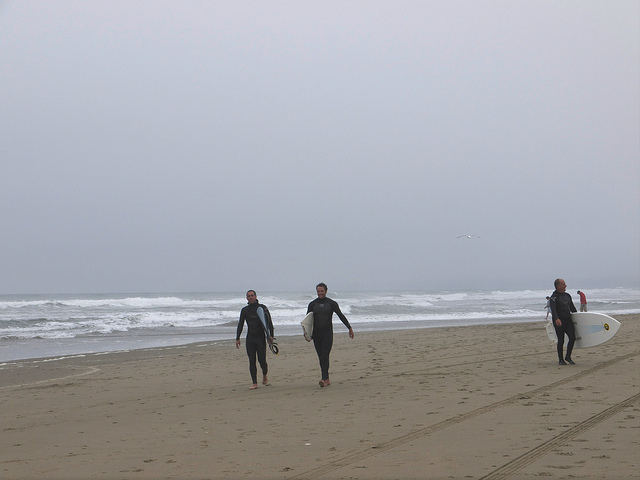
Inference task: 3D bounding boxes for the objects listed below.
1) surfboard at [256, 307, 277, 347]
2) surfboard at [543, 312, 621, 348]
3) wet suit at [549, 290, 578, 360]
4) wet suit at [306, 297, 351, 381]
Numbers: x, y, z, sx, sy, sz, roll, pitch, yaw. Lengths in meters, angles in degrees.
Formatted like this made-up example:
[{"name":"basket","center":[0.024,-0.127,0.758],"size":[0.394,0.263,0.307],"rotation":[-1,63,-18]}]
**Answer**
[{"name":"surfboard","center":[-1.023,1.633,11.804],"size":[0.108,0.693,0.199],"rotation":[-10,5,30]},{"name":"surfboard","center":[5.857,1.962,13.682],"size":[0.256,0.783,1.758],"rotation":[-8,-10,-33]},{"name":"wet suit","center":[5.135,1.761,12.922],"size":[0.480,1.448,0.976],"rotation":[-6,-8,21]},{"name":"wet suit","center":[0.152,1.893,12.026],"size":[0.768,1.596,0.978],"rotation":[-5,-8,11]}]
